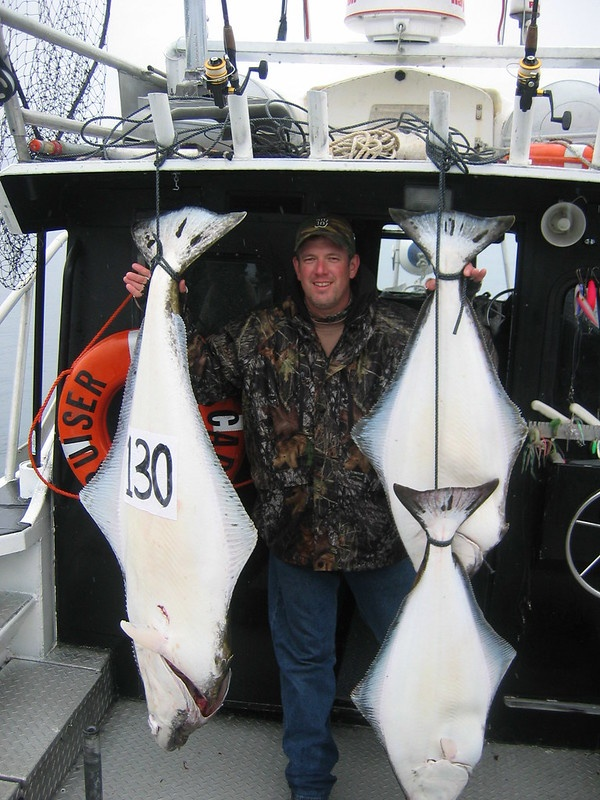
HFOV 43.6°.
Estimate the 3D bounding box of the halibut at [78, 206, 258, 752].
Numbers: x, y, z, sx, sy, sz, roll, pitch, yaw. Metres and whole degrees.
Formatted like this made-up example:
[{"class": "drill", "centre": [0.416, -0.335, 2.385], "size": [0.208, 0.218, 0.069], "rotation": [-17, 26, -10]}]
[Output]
[{"class": "halibut", "centre": [-0.329, 0.225, 2.036], "size": [0.515, 1.424, 0.518], "rotation": [-9, 20, -16]}]
